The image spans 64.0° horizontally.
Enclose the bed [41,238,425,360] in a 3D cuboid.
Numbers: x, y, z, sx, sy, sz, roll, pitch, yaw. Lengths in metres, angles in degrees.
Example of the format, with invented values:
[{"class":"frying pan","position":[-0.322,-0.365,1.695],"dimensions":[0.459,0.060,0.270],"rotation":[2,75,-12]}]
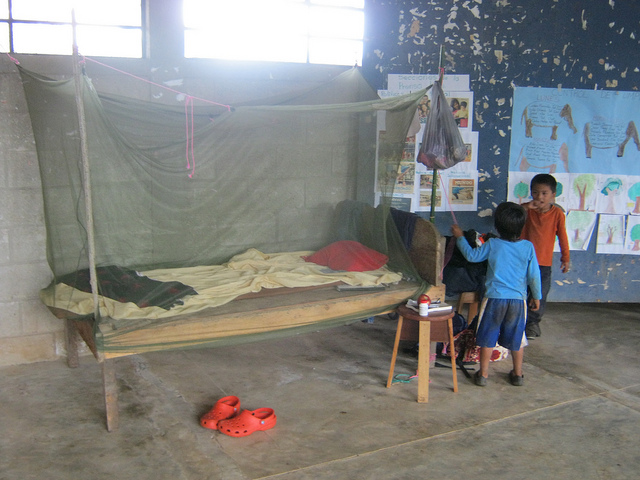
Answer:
[{"class":"bed","position":[-0.481,0.396,3.589],"dimensions":[1.970,0.203,1.088],"rotation":[-4,13,-29]}]

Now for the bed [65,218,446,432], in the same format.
[{"class":"bed","position":[-0.456,0.529,4.007],"dimensions":[2.737,1.137,1.314],"rotation":[-6,17,-21]}]

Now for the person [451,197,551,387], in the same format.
[{"class":"person","position":[1.481,0.337,4.118],"dimensions":[0.666,1.322,1.253],"rotation":[7,11,24]}]

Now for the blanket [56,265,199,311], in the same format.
[{"class":"blanket","position":[-1.235,0.330,3.419],"dimensions":[0.540,0.070,0.418],"rotation":[5,16,-26]}]

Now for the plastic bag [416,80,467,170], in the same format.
[{"class":"plastic bag","position":[0.944,-0.876,3.890],"dimensions":[0.356,0.676,0.197],"rotation":[4,12,13]}]

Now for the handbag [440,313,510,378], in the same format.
[{"class":"handbag","position":[1.105,0.742,4.002],"dimensions":[0.310,0.346,0.434],"rotation":[-4,0,0]}]

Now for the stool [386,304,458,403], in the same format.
[{"class":"stool","position":[0.720,0.818,3.741],"dimensions":[0.457,0.556,0.499],"rotation":[-1,-2,35]}]

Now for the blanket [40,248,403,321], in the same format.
[{"class":"blanket","position":[-0.692,0.320,3.704],"dimensions":[1.774,0.133,0.926],"rotation":[-4,11,-25]}]
